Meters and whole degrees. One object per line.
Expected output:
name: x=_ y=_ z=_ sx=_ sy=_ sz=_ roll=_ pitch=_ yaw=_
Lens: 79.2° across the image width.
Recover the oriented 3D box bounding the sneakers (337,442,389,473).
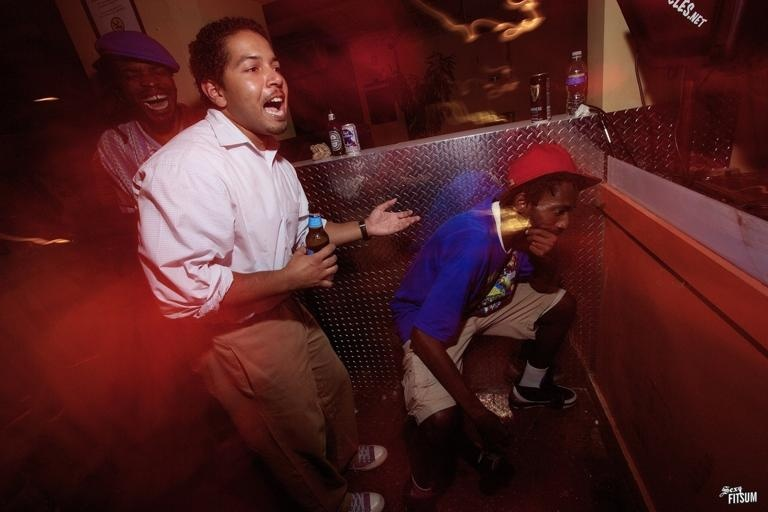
sneakers: x=-0.169 y=1.516 z=3.520 sx=0.381 sy=0.150 sz=0.139 roll=-11 pitch=53 yaw=0

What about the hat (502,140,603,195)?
hat: x=1.101 y=-0.600 z=3.170 sx=0.609 sy=0.322 sz=0.468 roll=-7 pitch=5 yaw=39

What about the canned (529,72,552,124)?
canned: x=1.084 y=-1.101 z=3.242 sx=0.133 sy=0.294 sz=0.175 roll=-1 pitch=25 yaw=15

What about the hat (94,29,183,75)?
hat: x=-1.880 y=-1.567 z=3.527 sx=0.394 sy=0.130 sz=0.370 roll=5 pitch=20 yaw=-25
